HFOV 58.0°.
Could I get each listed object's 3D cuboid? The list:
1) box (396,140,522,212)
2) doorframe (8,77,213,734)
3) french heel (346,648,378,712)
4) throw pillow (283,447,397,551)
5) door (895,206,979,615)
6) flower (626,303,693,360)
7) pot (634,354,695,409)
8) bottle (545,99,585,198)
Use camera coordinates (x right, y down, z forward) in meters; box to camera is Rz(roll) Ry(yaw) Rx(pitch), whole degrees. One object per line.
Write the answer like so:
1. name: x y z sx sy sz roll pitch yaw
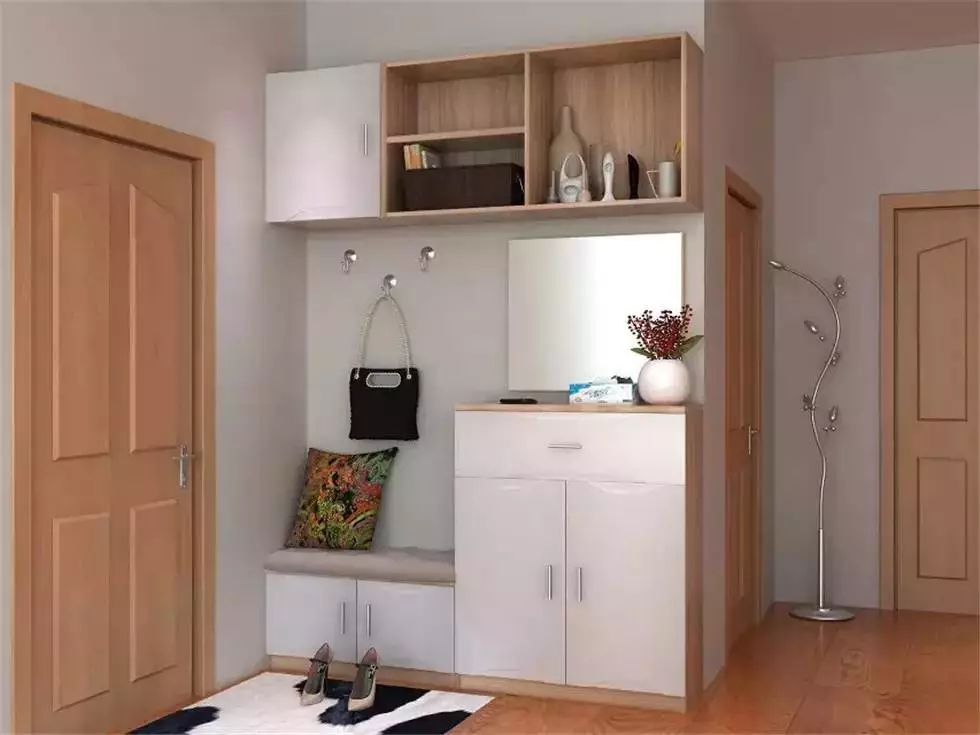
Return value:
1. box: -0.136 -0.975 4.515 0.698 0.368 0.254 2 3 26
2. doorframe: -1.593 0.228 3.871 0.242 2.686 1.110 1 3 18
3. french heel: -0.606 1.463 4.193 0.090 0.063 0.261 -16 35 23
4. throw pillow: -0.791 0.679 4.678 0.523 0.544 0.143 1 -14 28
5. door: 2.825 0.258 5.596 0.521 2.548 0.238 2 3 24
6. flower: 0.838 -0.174 4.284 0.371 0.263 0.240 1 3 13
7. pot: 0.826 0.062 4.159 0.218 0.192 0.216 -1 -5 0
8. bottle: 0.383 -1.085 4.461 0.174 0.518 0.223 1 3 6
